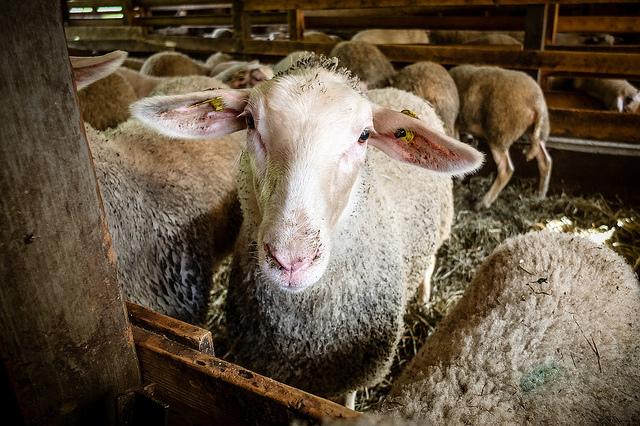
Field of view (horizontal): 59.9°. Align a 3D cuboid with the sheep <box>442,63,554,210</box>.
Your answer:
[{"bbox_3d":[1.471,-0.802,5.019,0.536,1.156,1.949,-7,21,-12],"label":"sheep"}]

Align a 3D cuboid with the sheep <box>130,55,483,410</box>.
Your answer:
[{"bbox_3d":[0.181,0.305,4.383,1.924,2.765,3.441,9,18,13],"label":"sheep"}]
